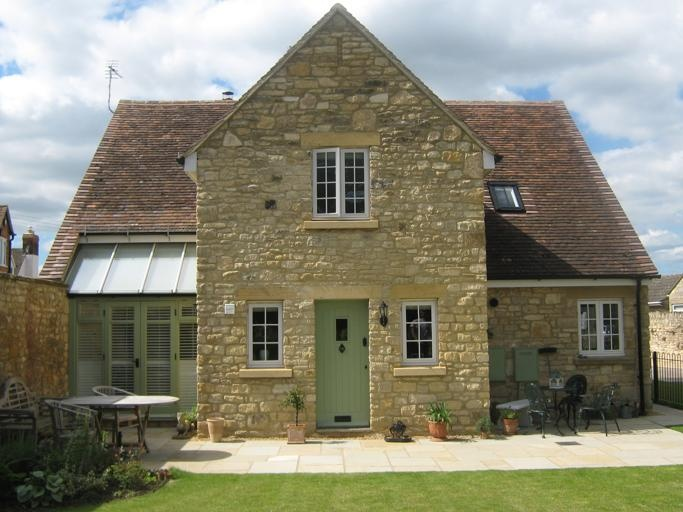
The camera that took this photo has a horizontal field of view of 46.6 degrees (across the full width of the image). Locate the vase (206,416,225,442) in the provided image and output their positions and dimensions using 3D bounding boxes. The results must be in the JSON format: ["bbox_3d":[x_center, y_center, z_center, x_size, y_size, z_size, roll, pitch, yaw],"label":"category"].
[{"bbox_3d":[-2.920,4.025,18.420,0.369,0.521,0.390,-2,6,-21],"label":"vase"}]

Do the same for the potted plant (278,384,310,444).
[{"bbox_3d":[-1.090,3.666,18.325,0.510,1.219,0.689,0,6,-3],"label":"potted plant"}]

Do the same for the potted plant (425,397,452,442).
[{"bbox_3d":[2.232,3.837,18.480,0.512,0.812,0.449,1,6,1],"label":"potted plant"}]

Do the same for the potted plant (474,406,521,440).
[{"bbox_3d":[3.651,3.989,18.813,0.879,0.299,0.614,-3,1,-38],"label":"potted plant"}]

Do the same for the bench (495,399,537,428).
[{"bbox_3d":[4.218,3.756,19.320,1.111,0.638,0.719,-1,0,3],"label":"bench"}]

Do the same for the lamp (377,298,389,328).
[{"bbox_3d":[0.988,1.377,18.727,0.253,0.603,0.135,0,6,-4],"label":"lamp"}]
